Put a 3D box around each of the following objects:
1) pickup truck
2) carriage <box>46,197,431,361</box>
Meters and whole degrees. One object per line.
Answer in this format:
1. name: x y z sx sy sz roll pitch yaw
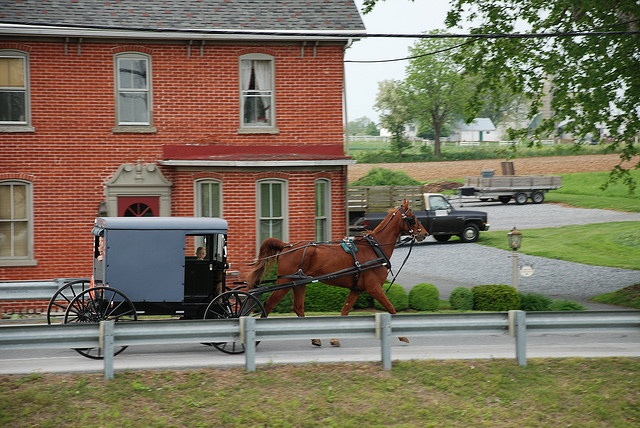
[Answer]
1. pickup truck: 4.079 0.272 50.321 6.872 1.682 2.980 -2 4 -31
2. carriage: -2.713 1.702 34.660 11.734 4.438 7.784 -2 12 -11
